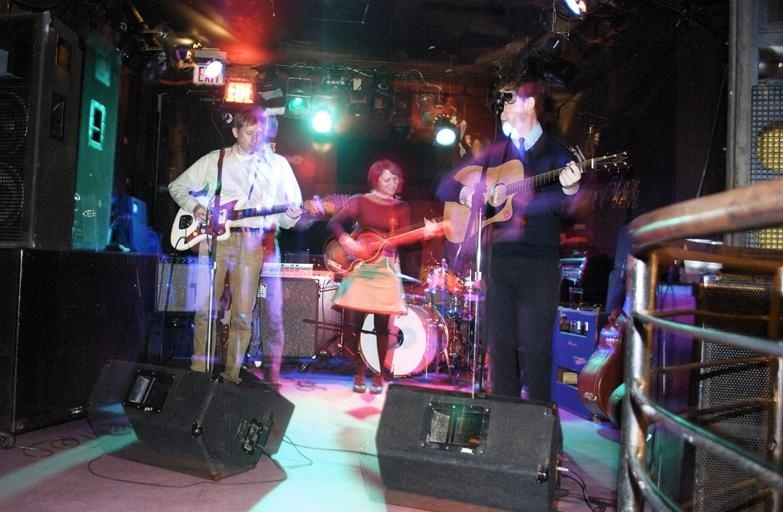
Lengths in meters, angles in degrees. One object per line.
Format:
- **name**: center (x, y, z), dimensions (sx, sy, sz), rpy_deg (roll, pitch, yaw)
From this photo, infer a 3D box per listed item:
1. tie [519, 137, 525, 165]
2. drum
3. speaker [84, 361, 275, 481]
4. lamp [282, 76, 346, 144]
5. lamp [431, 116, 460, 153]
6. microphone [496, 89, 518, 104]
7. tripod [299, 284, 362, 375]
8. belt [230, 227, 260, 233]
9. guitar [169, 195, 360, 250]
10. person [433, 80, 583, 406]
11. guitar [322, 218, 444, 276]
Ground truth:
- **tie**: center (0.825, -0.672, 4.029), dimensions (0.028, 0.172, 0.034), rpy_deg (-9, -15, 43)
- **drum**: center (0.108, 0.851, 6.392), dimensions (0.740, 0.788, 0.781), rpy_deg (8, 9, 17)
- **speaker**: center (-1.335, 1.004, 3.869), dimensions (1.081, 0.659, 0.477), rpy_deg (3, 5, 18)
- **lamp**: center (-1.115, -1.994, 8.731), dimensions (0.563, 1.075, 1.034), rpy_deg (2, 0, -39)
- **lamp**: center (0.800, -1.660, 8.642), dimensions (0.090, 0.365, 0.380), rpy_deg (0, 27, -39)
- **microphone**: center (0.754, -1.010, 4.033), dimensions (0.092, 0.096, 0.040), rpy_deg (8, 8, 40)
- **tripod**: center (-0.713, 0.890, 7.231), dimensions (0.702, 1.029, 0.797), rpy_deg (0, -11, 2)
- **belt**: center (-1.179, -0.208, 5.077), dimensions (0.218, 0.044, 0.041), rpy_deg (0, 5, -17)
- **guitar**: center (-1.100, -0.283, 5.480), dimensions (1.316, 0.512, 1.343), rpy_deg (-2, 6, -33)
- **person**: center (0.847, -0.127, 3.941), dimensions (0.618, 1.959, 0.529), rpy_deg (4, 5, 26)
- **guitar**: center (-0.104, -0.100, 5.721), dimensions (1.104, 0.441, 0.132), rpy_deg (-13, 7, 15)
